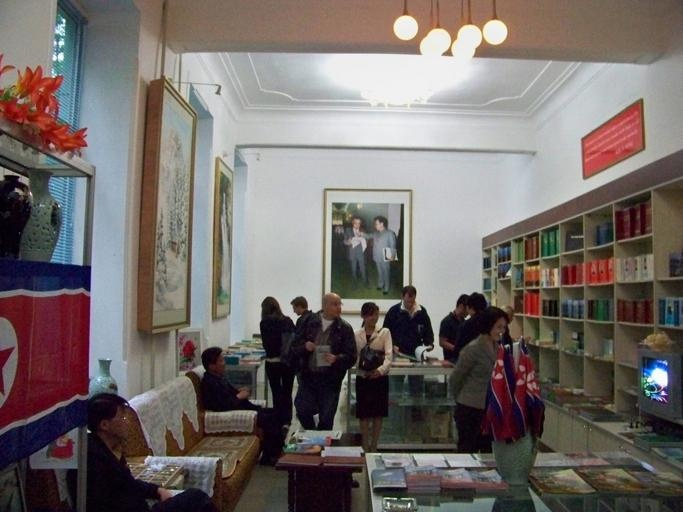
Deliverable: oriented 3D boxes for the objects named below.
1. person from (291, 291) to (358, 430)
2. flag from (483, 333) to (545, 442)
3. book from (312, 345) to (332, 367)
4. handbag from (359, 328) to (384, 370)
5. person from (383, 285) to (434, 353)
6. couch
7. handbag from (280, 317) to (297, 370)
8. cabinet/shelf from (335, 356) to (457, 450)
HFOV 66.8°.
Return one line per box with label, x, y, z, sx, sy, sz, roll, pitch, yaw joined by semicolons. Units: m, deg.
person;-0.201;1.280;6.031;0.761;1.693;0.442;-2;6;1
flag;1.251;0.964;3.769;0.402;0.754;0.403;1;7;23
book;-0.225;1.139;5.920;0.215;0.320;0.039;1;4;12
handbag;0.331;1.137;6.044;0.303;0.476;0.256;1;-5;-9
person;0.957;1.104;7.551;0.722;1.350;0.659;5;16;16
couch;-1.440;1.316;5.109;0.946;1.325;1.825;0;1;2
handbag;-0.707;1.144;6.695;0.230;0.817;0.208;22;-45;-29
cabinet/shelf;0.765;1.467;6.864;1.700;1.423;0.979;0;-4;2
